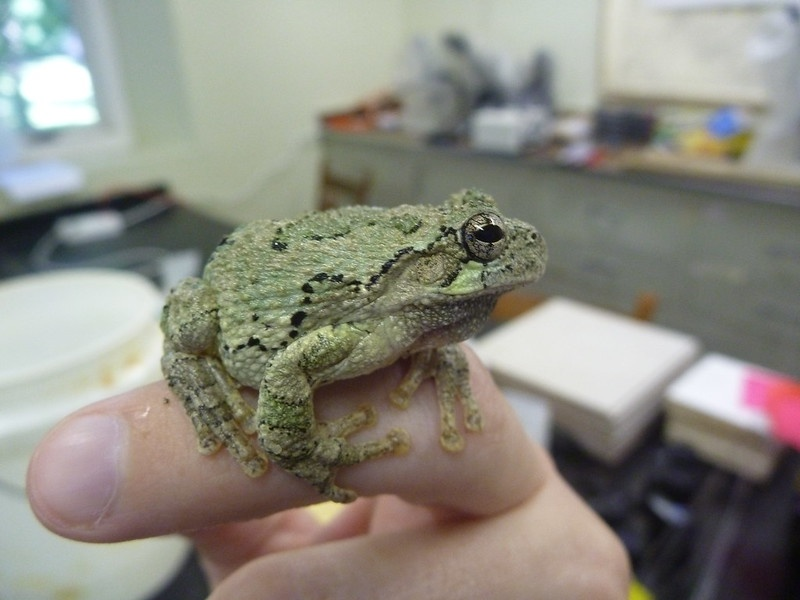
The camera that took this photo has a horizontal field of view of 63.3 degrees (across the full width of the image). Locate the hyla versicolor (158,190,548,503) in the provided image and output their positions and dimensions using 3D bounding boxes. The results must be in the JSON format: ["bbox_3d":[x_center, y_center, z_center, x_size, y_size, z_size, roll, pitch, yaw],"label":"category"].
[{"bbox_3d":[-0.064,0.010,0.917,0.486,0.306,0.407,5,19,12],"label":"hyla versicolor"}]
